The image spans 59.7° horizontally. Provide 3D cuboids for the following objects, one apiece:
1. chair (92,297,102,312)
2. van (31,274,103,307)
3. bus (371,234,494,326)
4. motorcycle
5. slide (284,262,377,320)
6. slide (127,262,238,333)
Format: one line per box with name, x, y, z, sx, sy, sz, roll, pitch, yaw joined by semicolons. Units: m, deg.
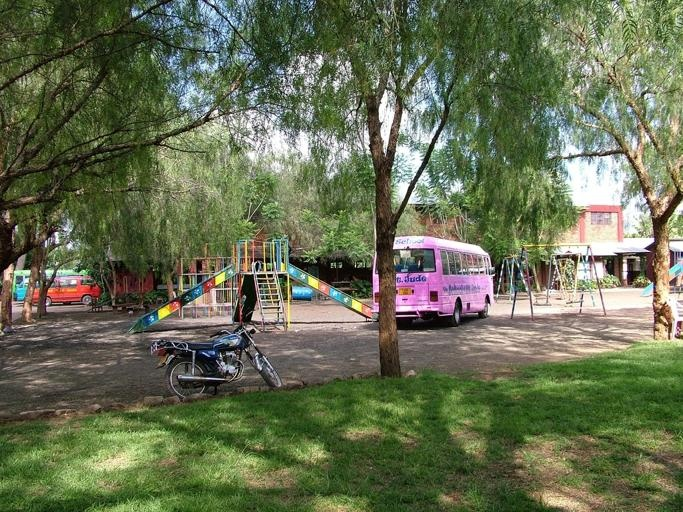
chair;-14.685;2.899;35.653;0.448;0.966;0.459;2;-2;-43
van;-18.324;2.251;40.019;4.842;3.011;2.281;-1;0;-7
bus;4.122;1.170;24.394;2.599;3.494;7.717;-5;-4;31
motorcycle;-2.136;1.791;10.825;2.234;1.620;0.792;-3;-1;-30
slide;-0.571;1.476;23.410;2.249;2.226;3.484;4;0;-31
slide;-5.727;1.667;21.448;4.369;2.273;2.322;-1;5;-33
